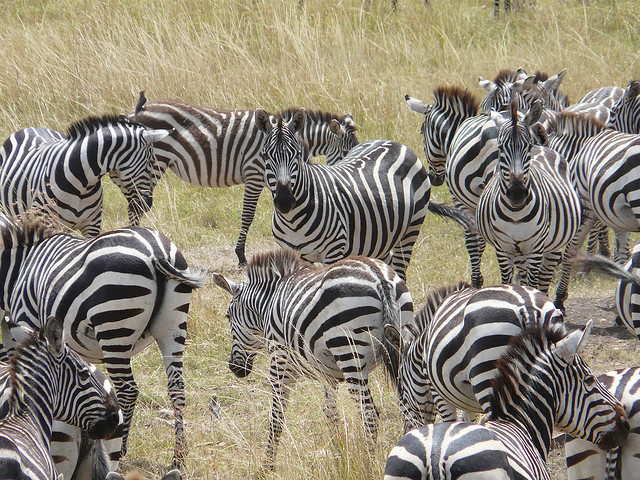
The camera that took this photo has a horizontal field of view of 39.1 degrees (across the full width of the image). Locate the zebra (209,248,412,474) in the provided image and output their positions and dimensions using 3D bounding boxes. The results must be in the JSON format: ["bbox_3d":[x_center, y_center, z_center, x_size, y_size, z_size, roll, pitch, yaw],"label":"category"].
[{"bbox_3d":[-0.045,0.927,8.065,1.658,1.096,1.605,12,78,3],"label":"zebra"}]

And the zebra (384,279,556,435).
[{"bbox_3d":[1.219,1.149,7.620,0.784,2.269,1.548,-1,77,-22],"label":"zebra"}]

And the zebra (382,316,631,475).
[{"bbox_3d":[1.422,1.324,6.560,1.743,0.599,1.057,-25,79,-4],"label":"zebra"}]

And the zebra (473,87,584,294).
[{"bbox_3d":[2.202,-0.314,9.523,1.067,2.029,1.710,6,77,2],"label":"zebra"}]
